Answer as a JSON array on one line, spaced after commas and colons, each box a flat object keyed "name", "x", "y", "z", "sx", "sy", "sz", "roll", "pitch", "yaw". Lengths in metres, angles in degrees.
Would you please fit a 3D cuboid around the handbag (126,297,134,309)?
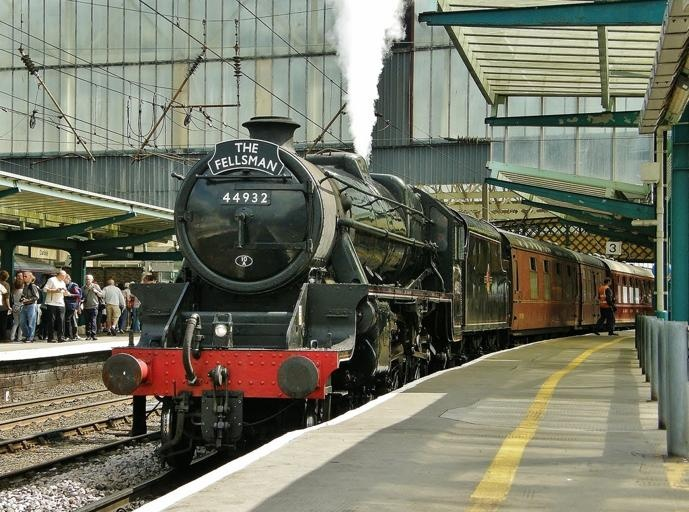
[{"name": "handbag", "x": -7.097, "y": 1.578, "z": 27.146, "sx": 0.228, "sy": 0.349, "sz": 0.350, "roll": 1, "pitch": -1, "yaw": 2}]
